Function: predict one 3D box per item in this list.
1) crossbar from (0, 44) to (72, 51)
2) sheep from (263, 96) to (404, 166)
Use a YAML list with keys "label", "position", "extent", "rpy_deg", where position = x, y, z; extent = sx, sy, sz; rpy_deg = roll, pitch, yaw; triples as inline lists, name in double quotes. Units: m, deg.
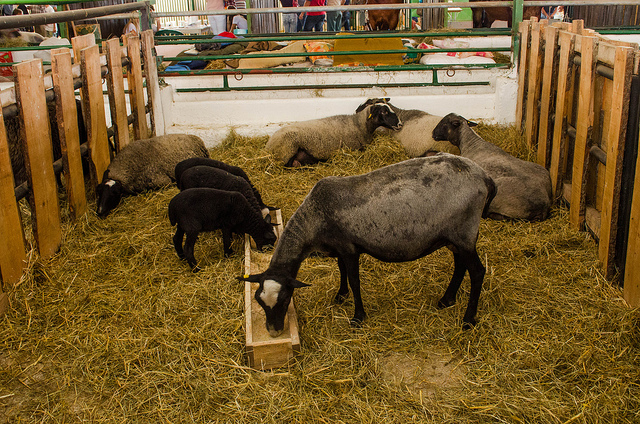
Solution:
- label: "crossbar"
  position: [-5.994, -3.478, 10.233]
  extent: [0.976, 0.083, 1.256]
  rpy_deg: [-5, 21, -5]
- label: "sheep"
  position: [0.111, -1.364, 8.864]
  extent: [2.866, 1.340, 1.056]
  rpy_deg: [-5, 29, -8]
